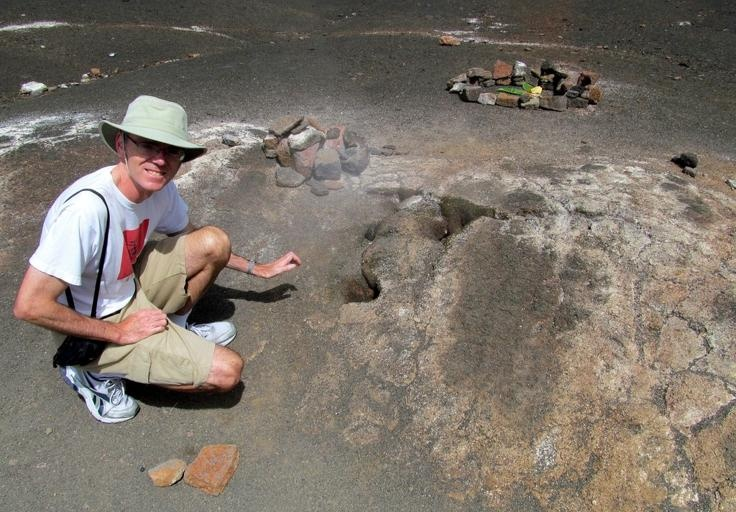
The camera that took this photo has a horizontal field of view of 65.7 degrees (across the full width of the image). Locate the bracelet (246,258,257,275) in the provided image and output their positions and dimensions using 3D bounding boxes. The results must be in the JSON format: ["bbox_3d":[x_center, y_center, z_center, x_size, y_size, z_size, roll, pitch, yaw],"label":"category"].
[{"bbox_3d":[-1.020,0.092,4.978,0.094,0.132,0.051,5,2,38],"label":"bracelet"}]

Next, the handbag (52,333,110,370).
[{"bbox_3d":[-2.178,0.693,4.283,0.348,0.220,0.151,-20,17,-14],"label":"handbag"}]

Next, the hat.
[{"bbox_3d":[-1.521,-0.941,4.183,0.498,0.261,0.561,15,-9,0],"label":"hat"}]
